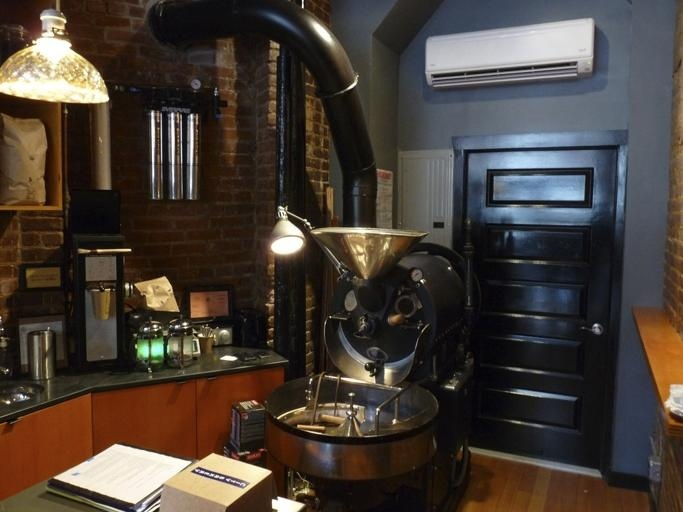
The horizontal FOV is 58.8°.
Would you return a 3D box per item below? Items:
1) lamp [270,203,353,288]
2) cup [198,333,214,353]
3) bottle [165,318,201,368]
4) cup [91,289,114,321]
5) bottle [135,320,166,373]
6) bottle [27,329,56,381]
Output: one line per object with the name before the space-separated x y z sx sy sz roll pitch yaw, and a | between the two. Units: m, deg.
lamp | -0.198 -0.058 3.738 0.451 0.511 1.207 -2 6 -5
cup | -0.873 0.568 3.902 0.094 0.103 0.099 0 -3 0
bottle | -0.989 0.520 3.729 0.158 0.311 0.227 1 6 -5
cup | -1.376 0.280 3.505 0.146 0.178 0.145 0 2 0
bottle | -1.157 0.537 3.666 0.192 0.321 0.245 0 0 -24
bottle | -1.693 0.566 3.428 0.139 0.275 0.072 -4 6 -31
